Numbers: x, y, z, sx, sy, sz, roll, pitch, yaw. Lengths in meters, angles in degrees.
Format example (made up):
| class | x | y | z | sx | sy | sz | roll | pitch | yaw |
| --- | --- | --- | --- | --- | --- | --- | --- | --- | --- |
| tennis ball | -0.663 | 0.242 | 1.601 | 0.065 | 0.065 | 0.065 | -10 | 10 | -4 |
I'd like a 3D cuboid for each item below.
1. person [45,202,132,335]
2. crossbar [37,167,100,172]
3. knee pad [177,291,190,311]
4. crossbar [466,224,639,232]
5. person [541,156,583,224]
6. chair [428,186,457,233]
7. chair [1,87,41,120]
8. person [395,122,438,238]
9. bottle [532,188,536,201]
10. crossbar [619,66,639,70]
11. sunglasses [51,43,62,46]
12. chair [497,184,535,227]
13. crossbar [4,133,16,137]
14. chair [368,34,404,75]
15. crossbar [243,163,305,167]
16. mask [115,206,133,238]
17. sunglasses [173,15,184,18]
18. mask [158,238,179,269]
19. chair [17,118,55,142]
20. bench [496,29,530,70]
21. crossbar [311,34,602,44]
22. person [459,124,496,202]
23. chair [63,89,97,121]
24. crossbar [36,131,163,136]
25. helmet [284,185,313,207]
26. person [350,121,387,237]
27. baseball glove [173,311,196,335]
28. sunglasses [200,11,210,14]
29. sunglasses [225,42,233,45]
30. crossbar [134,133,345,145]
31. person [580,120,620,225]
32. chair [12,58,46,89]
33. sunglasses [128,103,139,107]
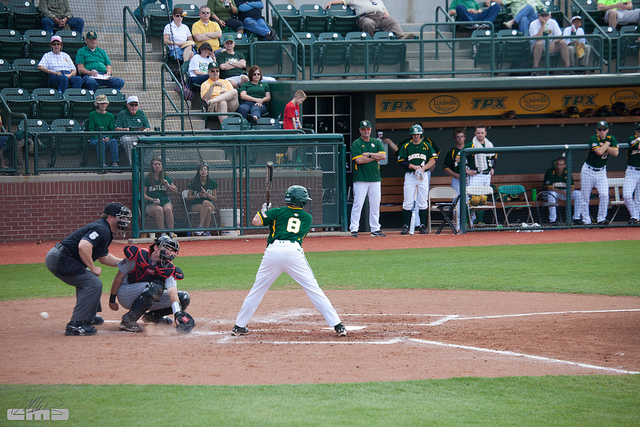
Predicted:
| class | x | y | z | sx | sy | sz | roll | pitch | yaw |
| --- | --- | --- | --- | --- | --- | --- | --- | --- | --- |
| person | -4.031 | 0.968 | 18.422 | 1.397 | 1.576 | 0.774 | -1 | 0 | -14 |
| crossbar | -5.979 | -1.035 | 25.246 | 1.438 | 0.073 | 0.049 | -1 | 0 | -10 |
| knee pad | -2.369 | 1.536 | 18.562 | 0.200 | 0.311 | 0.146 | -2 | 3 | -11 |
| crossbar | 5.812 | 0.376 | 26.374 | 4.328 | 0.147 | 0.227 | -1 | 0 | -6 |
| person | 6.114 | -0.594 | 26.645 | 0.994 | 1.677 | 0.430 | -1 | 0 | 10 |
| chair | 3.034 | -0.078 | 26.137 | 0.910 | 1.101 | 0.890 | -5 | 1 | -14 |
| chair | -7.210 | -2.690 | 25.921 | 0.760 | 0.908 | 0.954 | -3 | 2 | -27 |
| person | 2.432 | -0.804 | 26.156 | 0.835 | 2.724 | 0.662 | -1 | 1 | -29 |
| bottle | 5.443 | -0.466 | 26.796 | 0.080 | 0.306 | 0.452 | -1 | 0 | 11 |
| crossbar | 8.323 | -3.924 | 28.406 | 0.501 | 0.109 | 0.552 | -1 | 0 | 18 |
| sunglasses | -6.545 | -4.205 | 26.334 | 0.181 | 0.044 | 0.058 | -1 | 0 | -13 |
| chair | 4.946 | -0.185 | 26.588 | 0.894 | 0.974 | 0.881 | -8 | 13 | -32 |
| crossbar | -7.231 | -1.822 | 24.684 | 0.228 | 0.064 | 0.110 | -1 | 0 | -12 |
| chair | 1.756 | -4.400 | 28.451 | 1.056 | 1.345 | 1.075 | -1 | 36 | -2 |
| crossbar | -1.008 | -1.158 | 25.503 | 1.319 | 0.095 | 0.334 | -1 | 0 | -4 |
| mask | -3.425 | 0.113 | 18.464 | 0.269 | 0.329 | 0.472 | -1 | 0 | -10 |
| sunglasses | -3.639 | -5.174 | 27.727 | 0.116 | 0.065 | 0.246 | 0 | 0 | 43 |
| mask | -2.598 | 0.672 | 18.201 | 0.346 | 0.405 | 0.404 | 20 | 10 | -13 |
| chair | -6.738 | -1.973 | 25.385 | 0.643 | 0.788 | 0.691 | -1 | 1 | -33 |
| bench | 5.218 | -4.449 | 28.505 | 0.637 | 0.780 | 0.578 | -2 | 19 | -27 |
| crossbar | 3.591 | -4.587 | 27.682 | 7.485 | 0.296 | 1.016 | -1 | 0 | -3 |
| person | 3.930 | -1.230 | 26.272 | 0.889 | 1.906 | 0.805 | -1 | 0 | 7 |
| chair | -5.844 | -2.682 | 26.028 | 0.752 | 0.708 | 0.890 | 0 | 2 | -20 |
| crossbar | -5.142 | -1.902 | 25.063 | 2.800 | 0.066 | 0.616 | -1 | 0 | -2 |
| helmet | -0.348 | -0.283 | 18.340 | 0.417 | 0.284 | 0.306 | 12 | -3 | -17 |
| person | 1.185 | -0.823 | 25.892 | 0.851 | 2.834 | 0.654 | -1 | 0 | 0 |
| baseball glove | -2.347 | 1.900 | 18.370 | 0.315 | 0.411 | 0.165 | -35 | 6 | 4 |
| sunglasses | -2.988 | -5.298 | 27.897 | 0.216 | 0.072 | 0.097 | -1 | 0 | -40 |
| sunglasses | -2.317 | -4.377 | 27.216 | 0.175 | 0.033 | 0.054 | -1 | 0 | -18 |
| crossbar | -1.817 | -1.768 | 25.162 | 4.892 | 0.257 | 0.334 | -1 | 0 | -13 |
| person | 6.961 | -0.990 | 26.326 | 0.899 | 2.558 | 0.729 | -1 | 0 | 15 |
| chair | -7.287 | -3.522 | 26.511 | 0.725 | 0.941 | 0.955 | -1 | 1 | -30 |
| sunglasses | -4.483 | -2.616 | 25.619 | 0.118 | 0.060 | 0.283 | 0 | 0 | 43 |
